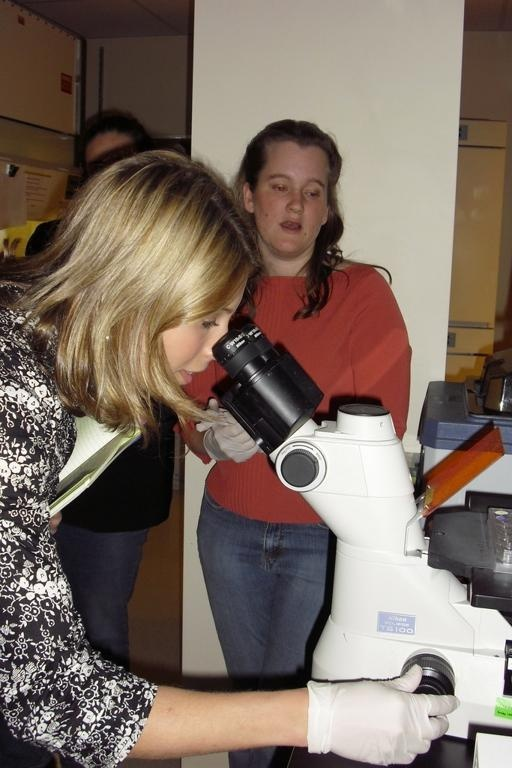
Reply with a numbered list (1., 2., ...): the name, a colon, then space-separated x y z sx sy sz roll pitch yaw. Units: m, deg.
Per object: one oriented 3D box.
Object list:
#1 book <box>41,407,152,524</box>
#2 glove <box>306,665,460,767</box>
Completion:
1. book: -0.243 0.126 0.837 0.140 0.033 0.135 -35 6 17
2. glove: 0.134 0.376 0.662 0.165 0.063 0.074 10 7 12
